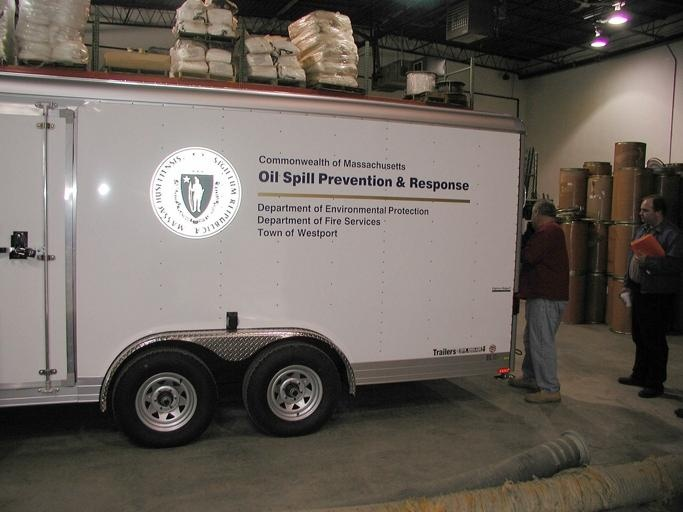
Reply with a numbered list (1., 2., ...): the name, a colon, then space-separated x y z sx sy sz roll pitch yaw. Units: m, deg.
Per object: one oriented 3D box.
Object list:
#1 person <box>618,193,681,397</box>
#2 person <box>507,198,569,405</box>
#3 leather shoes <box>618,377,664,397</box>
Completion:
1. person: 3.881 0.490 6.934 0.645 2.477 0.596 6 9 40
2. person: 2.428 0.529 6.692 0.570 2.393 0.607 3 7 23
3. leather shoes: 3.831 1.674 7.053 0.433 0.212 0.154 5 4 14
